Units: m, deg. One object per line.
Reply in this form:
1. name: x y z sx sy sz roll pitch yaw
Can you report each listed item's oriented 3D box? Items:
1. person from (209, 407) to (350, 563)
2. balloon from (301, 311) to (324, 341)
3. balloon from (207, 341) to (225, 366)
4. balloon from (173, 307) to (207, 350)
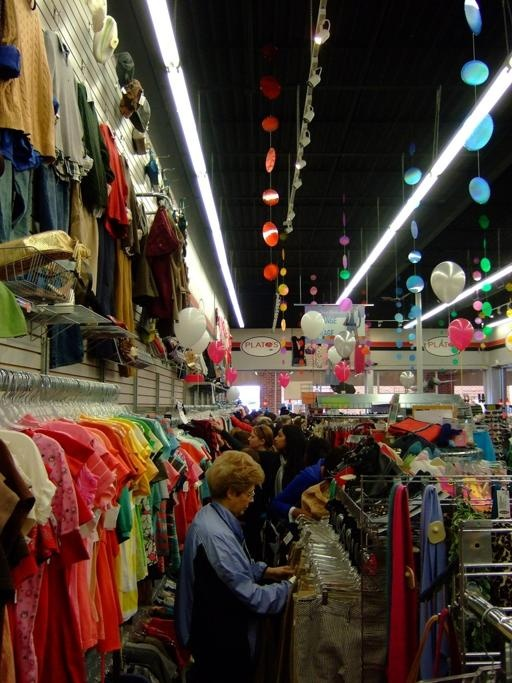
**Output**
1. person: 0.166 0.972 3.404 0.712 0.613 1.821 -9 -21 -8
2. balloon: 1.287 -0.331 11.207 0.569 0.851 0.653 1 -6 1
3. balloon: -0.794 0.208 9.744 0.290 0.383 0.701 -1 -6 -2
4. balloon: -0.763 -0.173 5.696 0.331 0.434 0.543 0 -6 -12
